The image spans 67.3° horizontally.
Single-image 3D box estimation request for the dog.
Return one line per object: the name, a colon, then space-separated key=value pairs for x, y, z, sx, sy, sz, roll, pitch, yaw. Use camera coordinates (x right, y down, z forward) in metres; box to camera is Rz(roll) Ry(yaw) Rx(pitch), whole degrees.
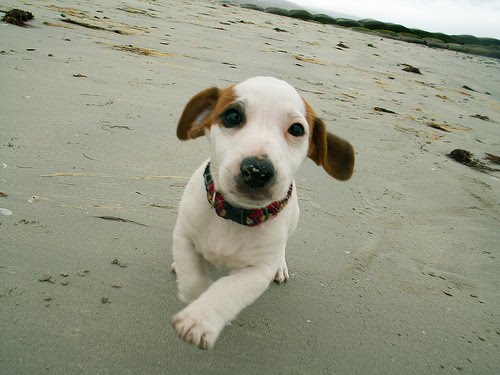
dog: x=-0.162 y=0.091 z=2.973 sx=1.414 sy=1.729 sz=1.665 roll=22 pitch=35 yaw=9
